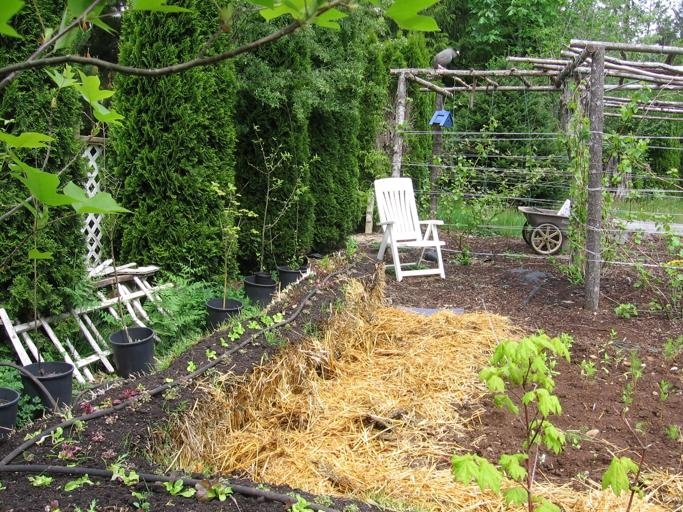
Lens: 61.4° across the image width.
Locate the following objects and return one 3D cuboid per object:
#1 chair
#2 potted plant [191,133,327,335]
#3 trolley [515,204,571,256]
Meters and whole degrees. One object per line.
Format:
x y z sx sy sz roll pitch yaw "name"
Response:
0.782 -0.345 6.859 0.855 1.227 0.982 -1 3 19 "chair"
-0.759 -0.474 6.062 0.889 1.759 2.310 -2 15 1 "potted plant"
2.908 -0.365 8.178 0.782 0.617 0.561 4 13 4 "trolley"
